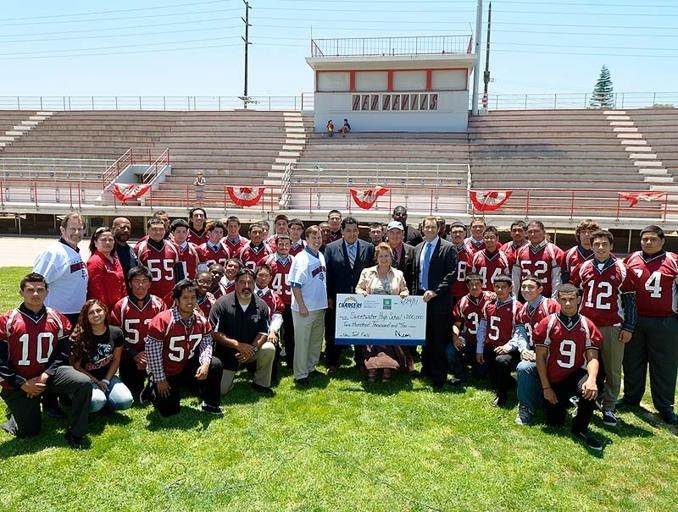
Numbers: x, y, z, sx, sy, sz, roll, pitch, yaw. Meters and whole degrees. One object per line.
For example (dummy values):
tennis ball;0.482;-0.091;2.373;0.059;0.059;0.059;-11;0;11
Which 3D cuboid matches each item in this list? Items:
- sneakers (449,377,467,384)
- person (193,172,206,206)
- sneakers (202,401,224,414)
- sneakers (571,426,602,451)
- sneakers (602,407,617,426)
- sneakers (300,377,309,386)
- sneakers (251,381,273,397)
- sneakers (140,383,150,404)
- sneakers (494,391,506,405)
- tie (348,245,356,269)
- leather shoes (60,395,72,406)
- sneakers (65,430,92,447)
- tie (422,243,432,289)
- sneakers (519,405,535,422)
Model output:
sneakers;1.766;1.805;10.457;0.216;0.098;0.089;3;5;-7
person;-4.492;-2.146;22.860;0.301;1.010;1.374;0;4;-12
sneakers;-1.705;2.013;9.588;0.321;0.163;0.134;2;8;-2
sneakers;3.222;2.327;9.119;0.408;0.168;0.155;34;51;29
sneakers;3.673;2.159;9.566;0.198;0.180;0.208;3;5;21
sneakers;-0.502;1.802;10.336;0.160;0.098;0.135;0;5;-22
sneakers;-1.073;1.874;10.098;0.332;0.261;0.117;2;4;36
sneakers;-2.664;1.867;9.708;0.126;0.296;0.121;4;-5;-22
sneakers;2.258;1.977;9.910;0.154;0.157;0.219;4;5;28
tie;0.205;-0.008;10.716;0.130;0.336;0.063;1;4;-4
leather shoes;-3.721;1.929;9.589;0.274;0.134;0.071;4;5;33
sneakers;-3.285;2.266;8.873;0.261;0.205;0.101;15;12;15
tie;1.305;0.135;10.479;0.186;0.694;0.070;4;5;36
sneakers;2.533;2.103;9.528;0.280;0.218;0.212;1;4;0
